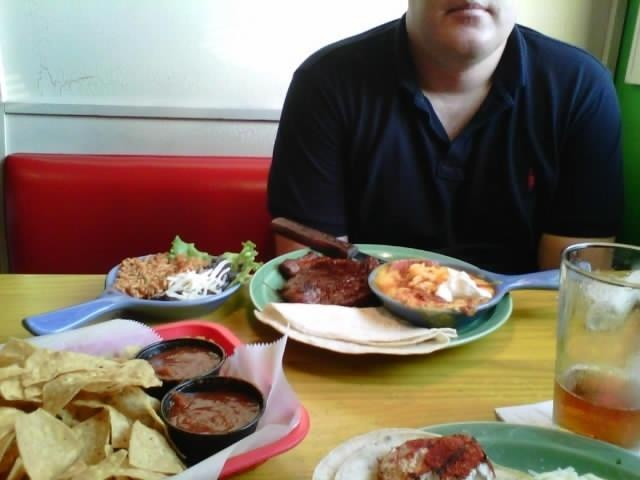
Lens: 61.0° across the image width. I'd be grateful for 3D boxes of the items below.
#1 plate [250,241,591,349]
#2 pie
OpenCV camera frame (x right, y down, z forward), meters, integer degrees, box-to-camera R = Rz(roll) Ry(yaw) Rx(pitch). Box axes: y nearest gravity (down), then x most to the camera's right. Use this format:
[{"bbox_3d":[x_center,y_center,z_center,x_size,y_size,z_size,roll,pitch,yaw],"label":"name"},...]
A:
[{"bbox_3d":[0.223,0.125,1.591,0.621,0.094,0.406,6,13,2],"label":"plate"},{"bbox_3d":[0.072,0.238,1.441,0.327,0.072,0.227,10,6,-1],"label":"pie"}]
